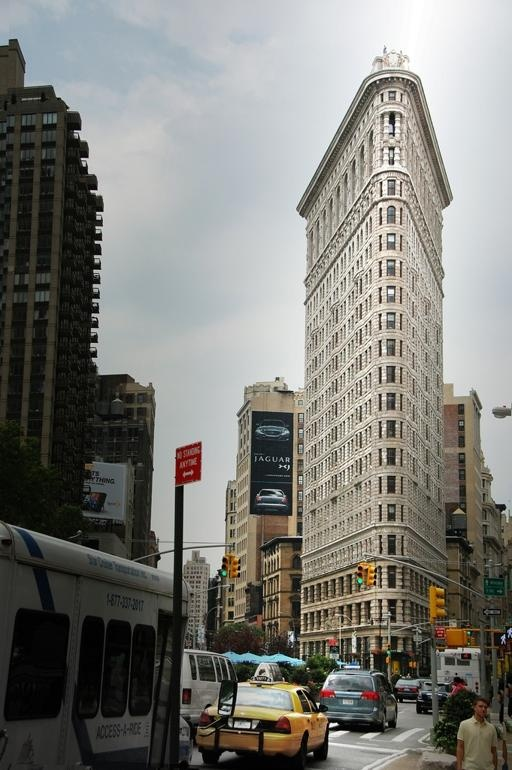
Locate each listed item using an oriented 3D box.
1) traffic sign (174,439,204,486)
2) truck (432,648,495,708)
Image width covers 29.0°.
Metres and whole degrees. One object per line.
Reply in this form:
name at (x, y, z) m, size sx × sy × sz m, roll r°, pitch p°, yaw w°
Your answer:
traffic sign at (-0.639, 0.748, 9.310) m, size 0.189 × 0.502 × 0.866 m, roll 4°, pitch -19°, yaw -8°
truck at (8.623, 12.214, 40.319) m, size 2.549 × 2.746 × 4.500 m, roll 0°, pitch -11°, yaw 9°
